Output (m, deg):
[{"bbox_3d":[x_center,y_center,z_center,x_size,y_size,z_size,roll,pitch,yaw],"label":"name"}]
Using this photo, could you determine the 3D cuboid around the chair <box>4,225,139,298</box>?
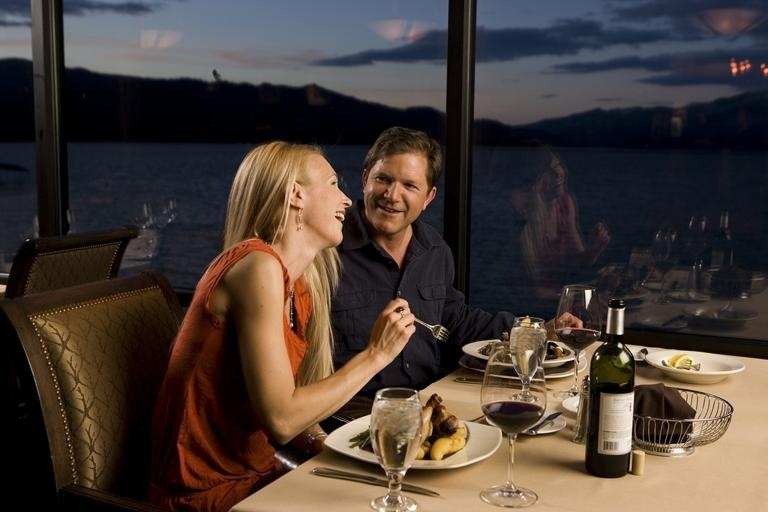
[{"bbox_3d":[-1.469,0.023,3.191,0.306,0.460,0.248,32,19,20],"label":"chair"}]

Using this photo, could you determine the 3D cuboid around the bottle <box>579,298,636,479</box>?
[{"bbox_3d":[0.651,0.366,1.902,0.128,0.508,0.181,3,7,21],"label":"bottle"}]

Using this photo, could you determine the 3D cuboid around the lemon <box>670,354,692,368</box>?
[{"bbox_3d":[1.129,0.384,2.533,0.057,0.028,0.073,-9,9,-16],"label":"lemon"}]

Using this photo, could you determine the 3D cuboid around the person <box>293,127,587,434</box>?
[{"bbox_3d":[0.327,-0.025,3.380,1.181,1.490,0.960,1,6,38],"label":"person"}]

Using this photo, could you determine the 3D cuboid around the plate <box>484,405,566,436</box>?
[{"bbox_3d":[0.510,0.531,2.140,0.145,0.022,0.150,-1,6,33],"label":"plate"}]
